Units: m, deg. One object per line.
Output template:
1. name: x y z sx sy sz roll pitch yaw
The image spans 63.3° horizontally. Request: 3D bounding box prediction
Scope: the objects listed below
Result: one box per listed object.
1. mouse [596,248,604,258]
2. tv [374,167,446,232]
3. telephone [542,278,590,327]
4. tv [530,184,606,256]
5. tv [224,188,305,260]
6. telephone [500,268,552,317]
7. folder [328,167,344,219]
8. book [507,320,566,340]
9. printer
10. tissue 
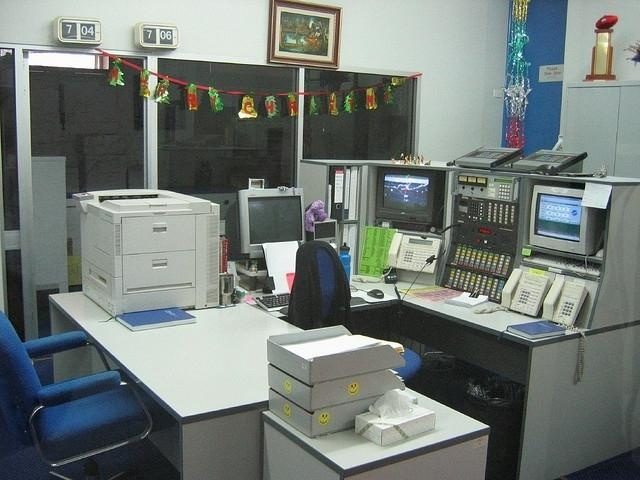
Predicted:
1. mouse: 1.680 0.079 3.111 0.040 0.059 0.085 4 14 23
2. tv: 0.703 -0.321 4.254 0.690 0.649 0.449 4 3 40
3. telephone: 1.504 0.369 3.161 0.101 0.289 0.204 19 2 -37
4. tv: 1.625 -0.119 3.411 0.383 0.473 0.498 0 5 -38
5. tv: -0.368 -0.133 4.009 0.549 0.765 0.508 -2 4 -32
6. telephone: 1.319 0.334 3.328 0.228 0.322 0.124 17 -8 44
7. folder: 0.134 -0.372 4.179 0.153 0.419 0.095 -3 13 -7
8. book: 1.292 0.523 3.035 0.388 0.053 0.196 -6 13 -18
9. printer: -1.095 0.011 3.393 0.819 0.802 0.757 -4 9 -39
10. tissue : 0.286 0.606 2.004 0.313 0.179 0.172 -6 10 -36
